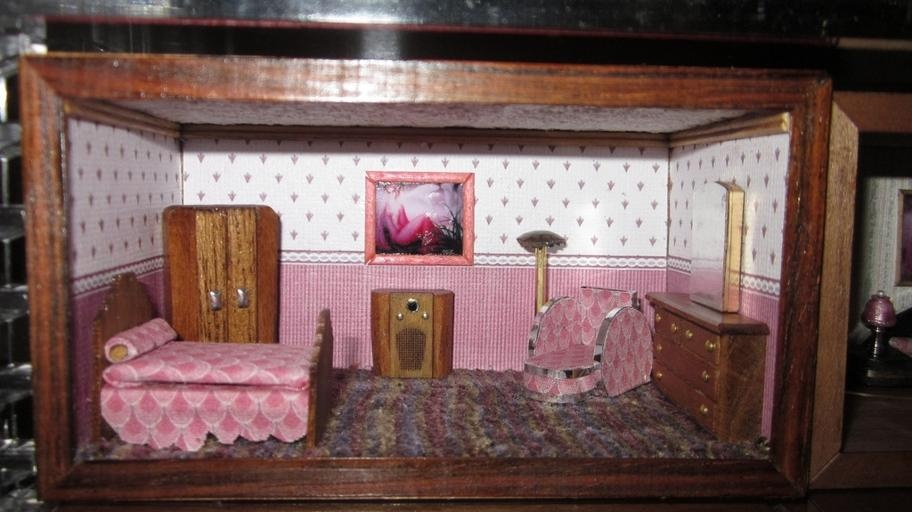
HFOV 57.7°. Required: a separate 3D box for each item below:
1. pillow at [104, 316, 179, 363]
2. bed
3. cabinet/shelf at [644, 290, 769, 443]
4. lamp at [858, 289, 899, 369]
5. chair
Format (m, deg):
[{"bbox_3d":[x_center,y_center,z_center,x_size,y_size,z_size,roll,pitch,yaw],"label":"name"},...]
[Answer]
[{"bbox_3d":[-3.365,0.925,8.896,0.263,0.318,1.002,-26,-3,7],"label":"pillow"},{"bbox_3d":[-2.610,0.981,9.167,2.271,1.516,2.103,5,11,-6],"label":"bed"},{"bbox_3d":[2.730,1.227,8.907,0.610,1.041,1.529,1,6,-5],"label":"cabinet/shelf"},{"bbox_3d":[4.986,0.822,9.829,0.347,0.829,0.589,2,6,26],"label":"lamp"},{"bbox_3d":[1.571,1.023,9.798,1.348,1.041,1.597,1,12,29],"label":"chair"}]
